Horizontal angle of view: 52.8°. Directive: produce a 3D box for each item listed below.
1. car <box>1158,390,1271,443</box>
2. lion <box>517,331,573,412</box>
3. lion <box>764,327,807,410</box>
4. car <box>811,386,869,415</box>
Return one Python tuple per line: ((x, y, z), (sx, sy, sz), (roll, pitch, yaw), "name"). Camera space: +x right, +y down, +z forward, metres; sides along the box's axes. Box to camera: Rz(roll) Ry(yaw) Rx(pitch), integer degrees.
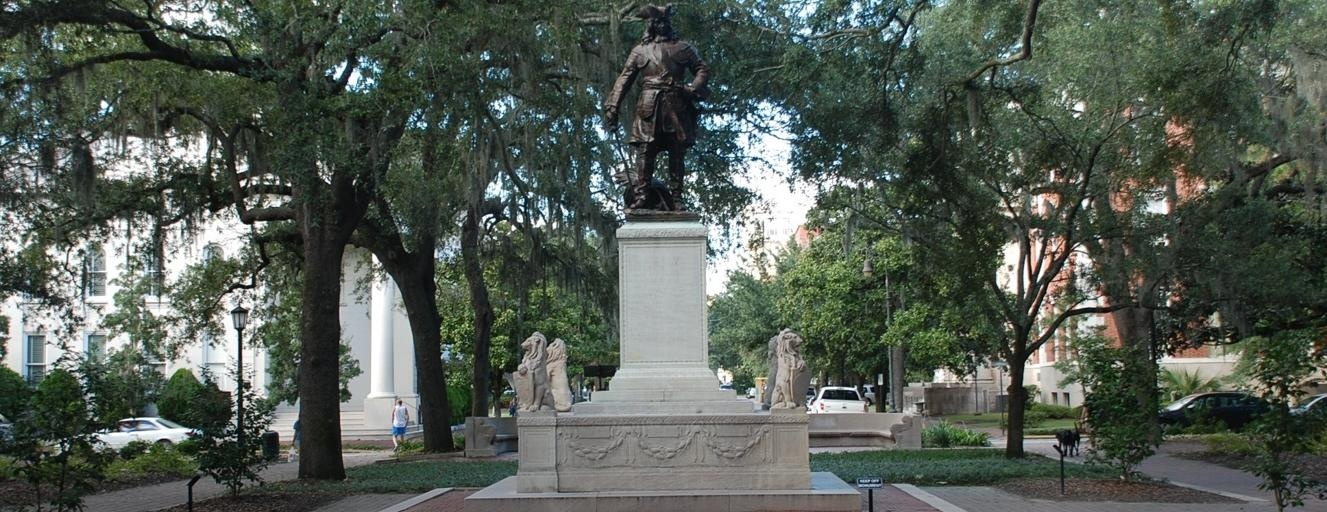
((32.907, 9.519, 80.910), (5.140, 2.518, 3.897), (-3, -9, 10), "car")
((-5.633, 5.742, 63.691), (2.076, 4.098, 2.333), (1, 0, 2), "lion")
((5.847, 5.409, 63.118), (1.812, 3.827, 1.247), (-8, -11, 41), "lion")
((11.680, 9.555, 88.505), (3.127, 1.575, 2.322), (1, -9, -13), "car")
